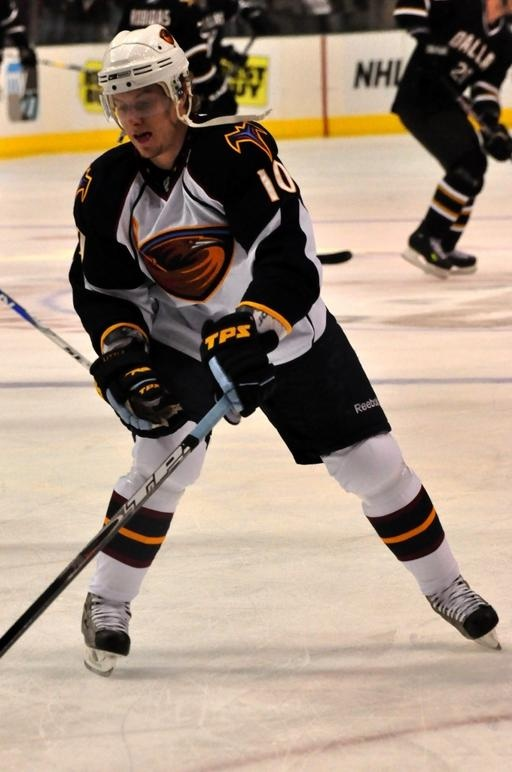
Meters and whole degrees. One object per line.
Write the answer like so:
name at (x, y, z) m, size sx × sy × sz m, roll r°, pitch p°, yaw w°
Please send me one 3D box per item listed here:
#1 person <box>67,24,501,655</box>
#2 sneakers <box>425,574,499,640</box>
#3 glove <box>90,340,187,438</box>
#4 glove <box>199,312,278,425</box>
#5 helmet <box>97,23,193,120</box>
person at (0.026, -0.056, 1.220) m, size 0.627 × 0.979 × 0.459 m, roll -1°, pitch 20°, yaw -13°
sneakers at (0.332, 0.358, 1.259) m, size 0.050 × 0.064 × 0.151 m, roll -41°, pitch 10°, yaw -3°
glove at (-0.183, 0.010, 1.215) m, size 0.169 × 0.102 × 0.071 m, roll 54°, pitch 19°, yaw 26°
glove at (-0.030, -0.033, 1.081) m, size 0.055 × 0.140 × 0.135 m, roll -29°, pitch 54°, yaw 6°
helmet at (-0.170, -0.483, 1.188) m, size 0.138 × 0.136 × 0.161 m, roll 1°, pitch 23°, yaw 27°
